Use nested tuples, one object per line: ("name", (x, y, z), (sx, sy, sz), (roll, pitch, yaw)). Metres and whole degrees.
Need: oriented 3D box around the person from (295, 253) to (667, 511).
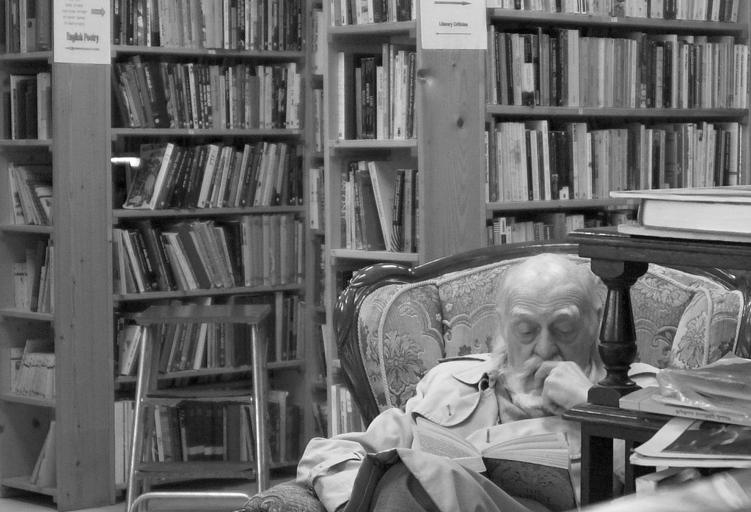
("person", (0.313, 0.483, 6.002), (0.937, 1.244, 1.149), (-7, -14, 42))
